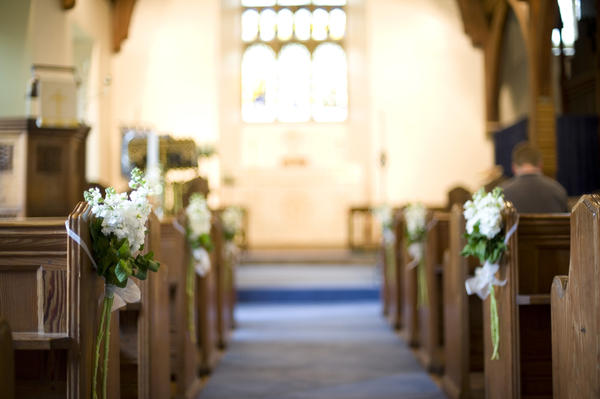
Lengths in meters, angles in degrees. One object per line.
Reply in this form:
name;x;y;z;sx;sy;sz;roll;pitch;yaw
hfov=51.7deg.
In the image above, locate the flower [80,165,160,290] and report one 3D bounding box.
flower;-1.118;0.184;3.877;0.430;0.734;0.242;-3;8;-21
